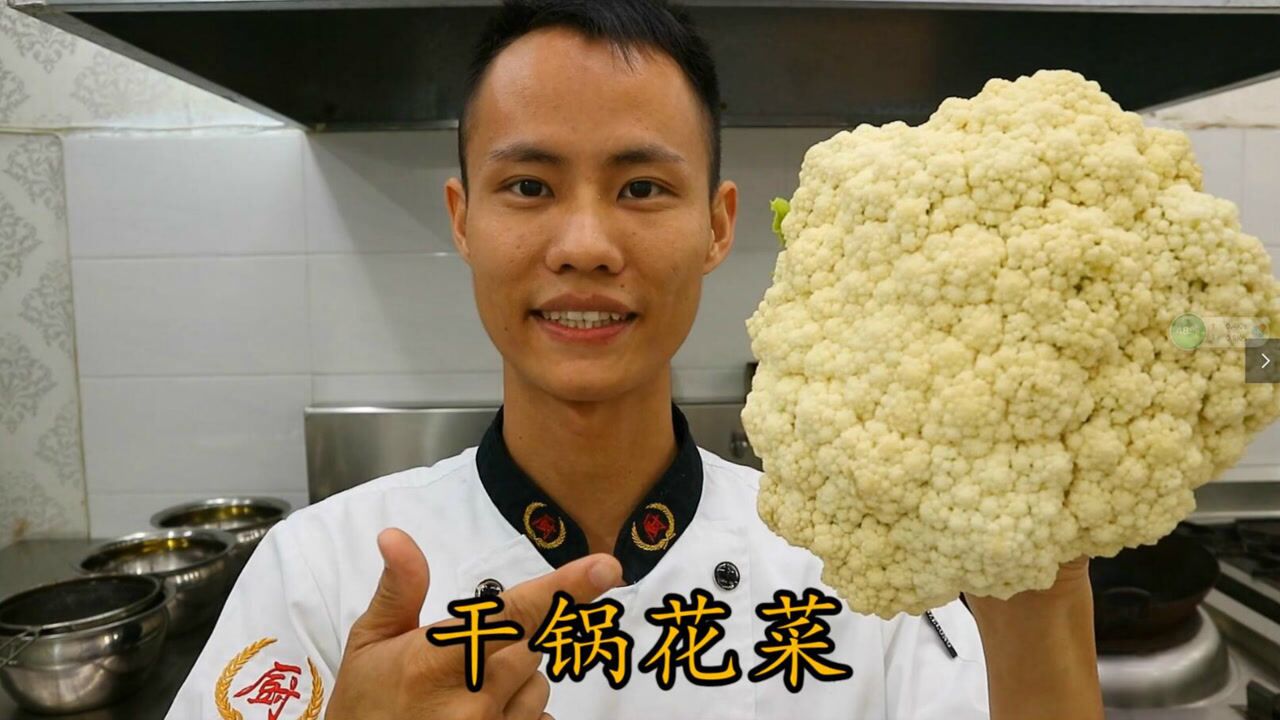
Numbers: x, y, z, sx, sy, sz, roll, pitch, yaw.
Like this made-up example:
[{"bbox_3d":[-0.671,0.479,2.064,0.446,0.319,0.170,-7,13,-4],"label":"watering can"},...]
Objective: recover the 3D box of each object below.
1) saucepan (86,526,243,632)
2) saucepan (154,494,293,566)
[{"bbox_3d":[-1.634,0.709,3.530,0.432,0.180,0.395,7,11,31],"label":"saucepan"},{"bbox_3d":[-1.524,0.638,3.702,0.446,0.148,0.430,4,14,0],"label":"saucepan"}]
